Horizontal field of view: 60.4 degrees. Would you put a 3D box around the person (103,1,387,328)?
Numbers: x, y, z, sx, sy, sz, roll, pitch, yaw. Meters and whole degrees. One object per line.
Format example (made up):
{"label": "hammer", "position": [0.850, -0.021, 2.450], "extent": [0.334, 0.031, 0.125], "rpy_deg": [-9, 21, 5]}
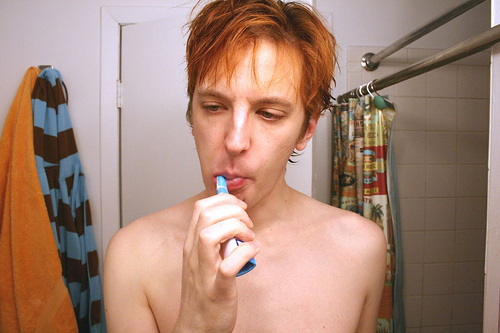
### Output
{"label": "person", "position": [0.010, 0.014, 2.028], "extent": [1.389, 1.564, 0.533], "rpy_deg": [0, -4, -12]}

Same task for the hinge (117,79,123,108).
{"label": "hinge", "position": [-0.801, -0.444, 2.632], "extent": [0.034, 0.161, 0.025], "rpy_deg": [1, -5, -23]}

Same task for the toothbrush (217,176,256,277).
{"label": "toothbrush", "position": [-0.074, 0.269, 1.858], "extent": [0.131, 0.451, 0.105], "rpy_deg": [3, -20, -28]}
